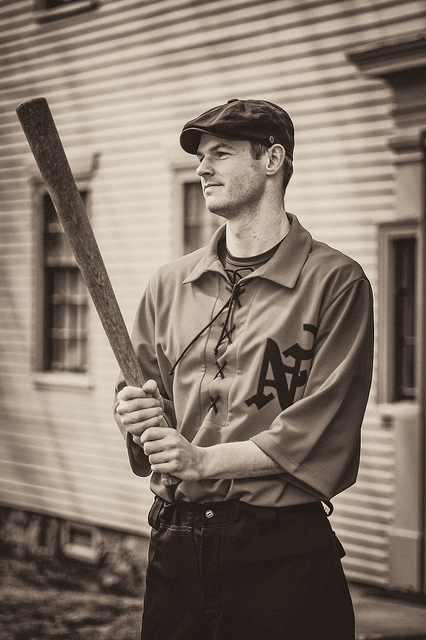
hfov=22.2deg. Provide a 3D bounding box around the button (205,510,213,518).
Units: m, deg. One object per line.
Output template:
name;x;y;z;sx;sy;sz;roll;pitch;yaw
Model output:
button;-0.019;0.753;4.191;0.027;0.027;0.007;-11;-4;-2

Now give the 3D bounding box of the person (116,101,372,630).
person;0.114;0.201;4.301;0.984;2.079;0.553;-3;2;-5
